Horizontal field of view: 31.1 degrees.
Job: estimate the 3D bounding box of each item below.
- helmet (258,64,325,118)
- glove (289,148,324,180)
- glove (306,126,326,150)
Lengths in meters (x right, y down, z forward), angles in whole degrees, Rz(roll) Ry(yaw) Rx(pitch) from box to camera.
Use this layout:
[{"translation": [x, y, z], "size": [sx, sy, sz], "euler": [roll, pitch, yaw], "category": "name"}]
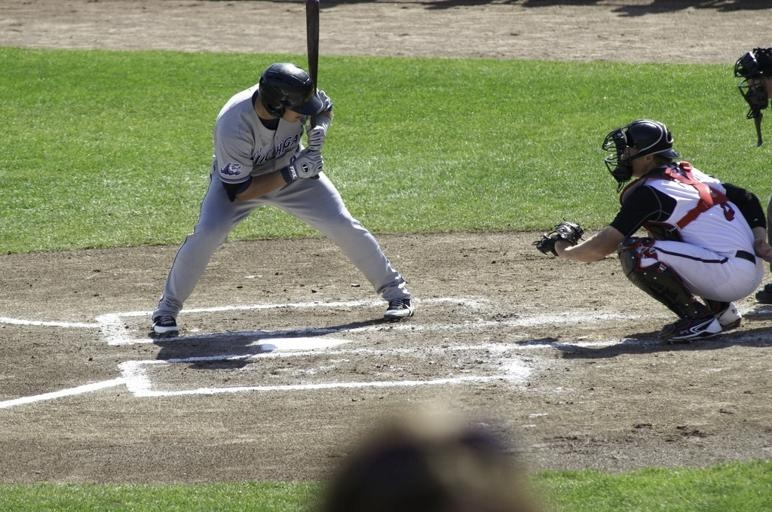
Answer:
[{"translation": [-1.009, -1.780, 14.820], "size": [0.841, 0.425, 0.462], "euler": [18, 40, -4], "category": "helmet"}, {"translation": [-0.892, -0.998, 15.047], "size": [0.339, 0.351, 0.268], "euler": [1, 17, -4], "category": "glove"}, {"translation": [-0.781, -1.282, 15.088], "size": [0.187, 0.257, 0.205], "euler": [1, 17, -3], "category": "glove"}]
